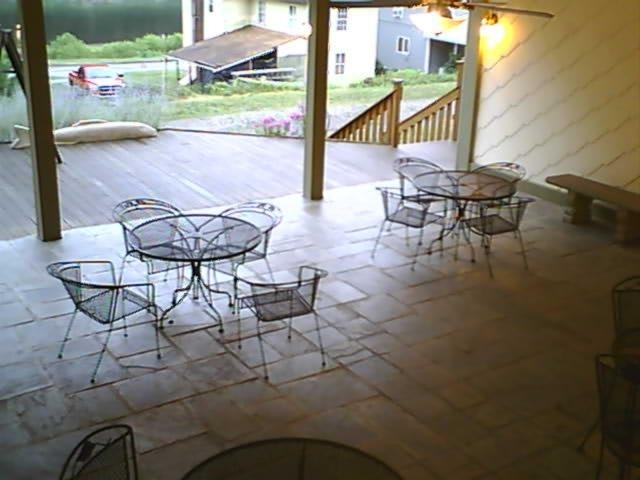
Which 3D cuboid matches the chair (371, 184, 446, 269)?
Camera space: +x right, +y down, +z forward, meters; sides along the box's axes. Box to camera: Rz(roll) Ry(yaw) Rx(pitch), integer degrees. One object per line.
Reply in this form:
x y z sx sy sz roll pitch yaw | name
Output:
1.145 -0.141 6.689 0.896 1.001 0.796 -30 46 -35 | chair

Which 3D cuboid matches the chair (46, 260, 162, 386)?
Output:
-2.012 0.806 4.730 0.738 0.825 0.839 29 34 33 | chair

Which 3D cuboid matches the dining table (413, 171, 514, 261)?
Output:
1.682 -0.237 6.794 1.499 0.933 1.386 11 27 21 | dining table
